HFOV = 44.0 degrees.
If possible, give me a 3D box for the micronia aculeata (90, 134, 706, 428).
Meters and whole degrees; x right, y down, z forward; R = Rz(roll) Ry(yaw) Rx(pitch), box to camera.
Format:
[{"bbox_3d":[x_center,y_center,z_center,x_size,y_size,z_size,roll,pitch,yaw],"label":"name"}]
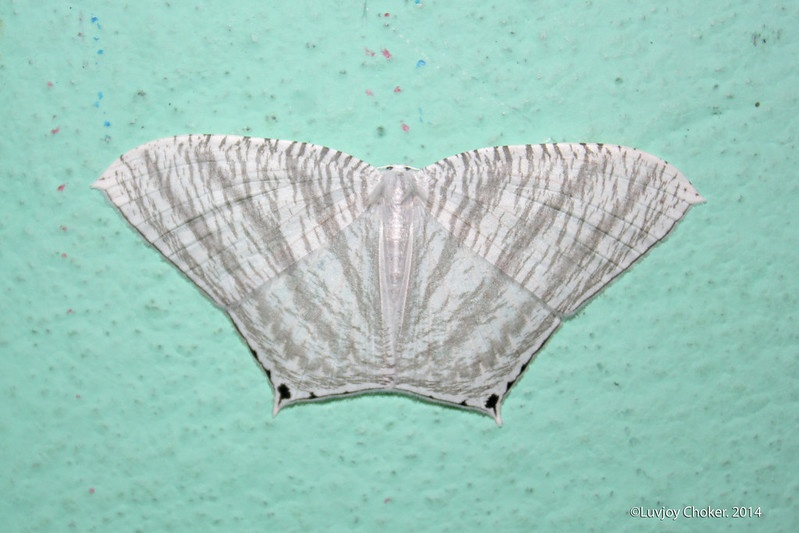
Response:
[{"bbox_3d":[-0.104,0.121,12.897,8.156,0.497,3.113,-1,86,20],"label":"micronia aculeata"}]
